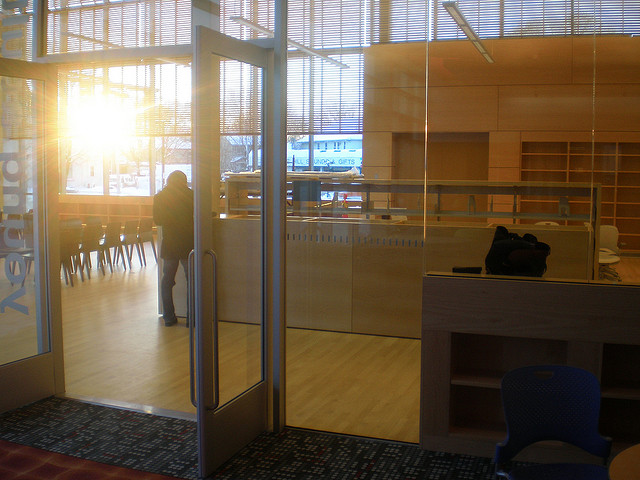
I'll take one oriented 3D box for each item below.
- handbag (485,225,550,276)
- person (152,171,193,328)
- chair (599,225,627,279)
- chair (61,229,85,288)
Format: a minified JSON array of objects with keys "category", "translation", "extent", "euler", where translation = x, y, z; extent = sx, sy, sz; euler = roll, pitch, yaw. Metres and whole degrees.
[{"category":"handbag","translation":[1.218,0.091,3.397],"extent":[0.328,0.303,0.140],"euler":[14,17,10]},{"category":"person","translation":[-1.585,0.137,6.050],"extent":[0.387,1.744,0.247],"euler":[-3,11,-14]},{"category":"chair","translation":[1.665,0.080,3.160],"extent":[0.127,0.346,0.239],"euler":[5,12,29]},{"category":"chair","translation":[-3.835,0.280,8.518],"extent":[0.288,0.835,0.593],"euler":[-5,12,-23]}]
